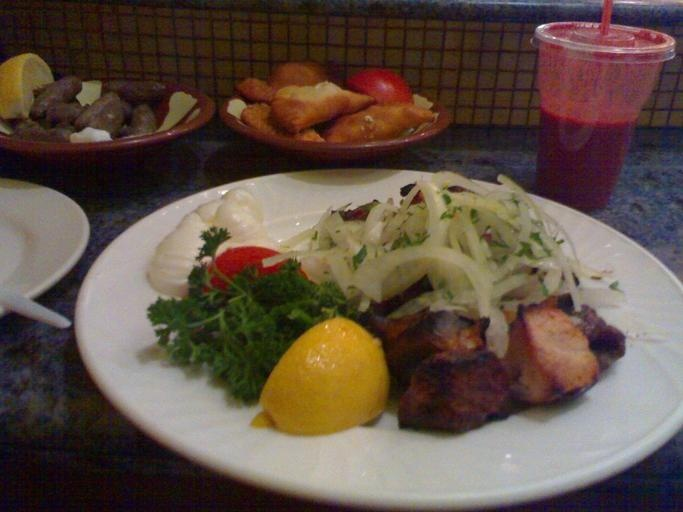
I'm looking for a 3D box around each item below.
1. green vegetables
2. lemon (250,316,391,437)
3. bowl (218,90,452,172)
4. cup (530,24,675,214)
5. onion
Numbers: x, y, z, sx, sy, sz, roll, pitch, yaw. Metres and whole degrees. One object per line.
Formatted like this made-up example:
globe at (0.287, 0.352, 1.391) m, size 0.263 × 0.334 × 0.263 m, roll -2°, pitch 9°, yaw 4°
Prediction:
green vegetables at (-0.118, 0.080, 0.653) m, size 0.176 × 0.076 × 0.170 m, roll -37°, pitch 62°, yaw -23°
lemon at (-0.021, 0.128, 0.589) m, size 0.120 × 0.055 × 0.097 m, roll -22°, pitch 54°, yaw -11°
bowl at (-0.015, -0.242, 1.040) m, size 0.435 × 0.056 × 0.196 m, roll 3°, pitch 50°, yaw 5°
cup at (0.333, -0.206, 0.896) m, size 0.203 × 0.320 × 0.203 m, roll 0°, pitch 30°, yaw 0°
onion at (0.144, -0.065, 0.708) m, size 0.285 × 0.097 × 0.297 m, roll 30°, pitch 35°, yaw 30°
